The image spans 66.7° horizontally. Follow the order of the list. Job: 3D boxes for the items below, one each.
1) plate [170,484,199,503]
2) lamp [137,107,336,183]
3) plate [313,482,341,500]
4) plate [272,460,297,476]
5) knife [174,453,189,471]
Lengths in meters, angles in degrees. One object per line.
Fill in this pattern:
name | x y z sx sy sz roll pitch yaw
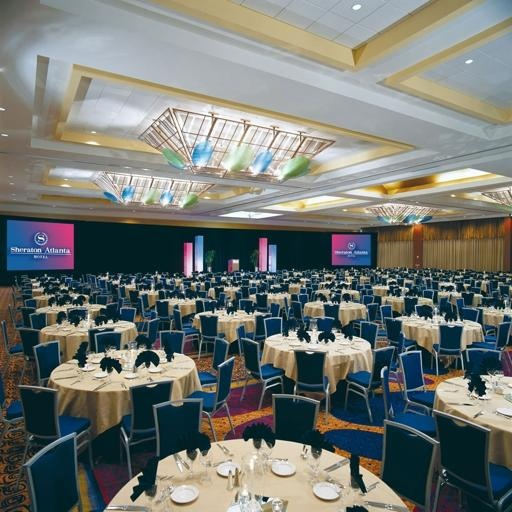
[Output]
plate | -0.391 1.306 2.124 0.135 0.016 0.122 1 6 1
lamp | -0.420 -1.859 7.372 2.669 1.194 2.999 -2 -2 41
plate | 0.397 1.317 2.166 0.163 0.030 0.133 1 -2 -31
plate | 0.166 1.305 2.386 0.149 0.026 0.170 0 -2 3
knife | -0.468 1.298 2.446 0.041 0.007 0.164 1 1 -22
